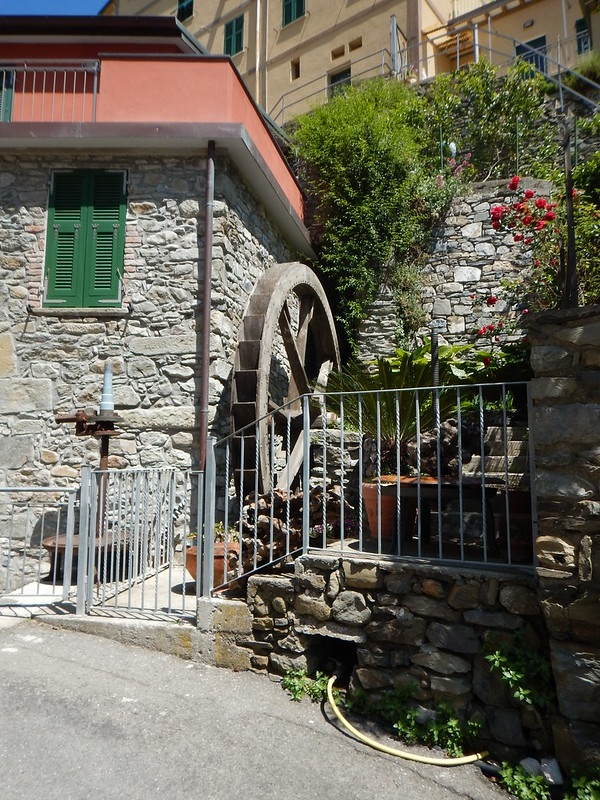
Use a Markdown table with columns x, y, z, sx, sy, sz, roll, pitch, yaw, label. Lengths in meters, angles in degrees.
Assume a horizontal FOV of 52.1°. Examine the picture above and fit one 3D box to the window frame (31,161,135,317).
| x | y | z | sx | sy | sz | roll | pitch | yaw | label |
| --- | --- | --- | --- | --- | --- | --- | --- | --- | --- |
| -2.002 | -1.490 | 5.736 | 0.692 | 1.447 | 0.138 | -2 | -18 | -9 | window frame |
